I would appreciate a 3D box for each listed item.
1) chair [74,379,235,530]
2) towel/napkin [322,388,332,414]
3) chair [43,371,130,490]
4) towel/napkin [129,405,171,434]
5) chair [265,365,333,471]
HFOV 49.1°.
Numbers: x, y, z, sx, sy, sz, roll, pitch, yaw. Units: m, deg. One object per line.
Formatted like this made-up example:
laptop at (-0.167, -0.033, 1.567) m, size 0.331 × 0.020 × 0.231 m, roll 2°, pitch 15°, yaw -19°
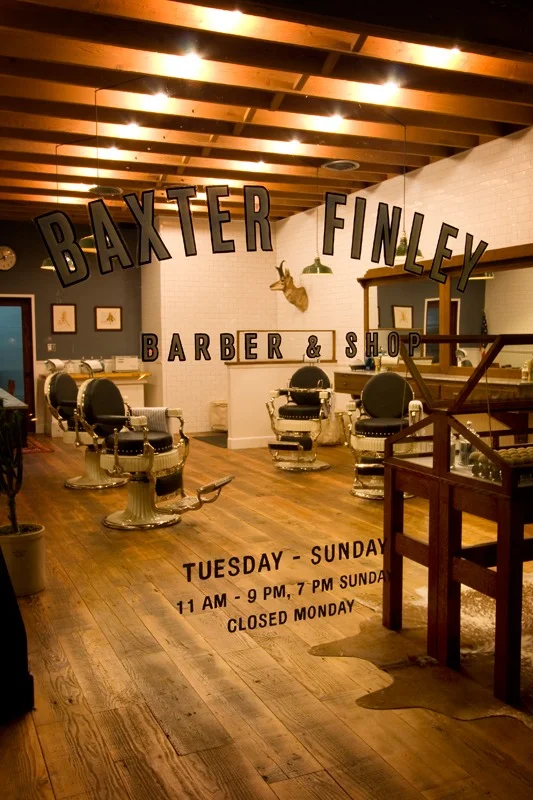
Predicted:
chair at (-0.771, 0.352, 4.120) m, size 0.943 × 1.062 × 0.671 m, roll -2°, pitch 3°, yaw 24°
towel/napkin at (0.559, -0.001, 5.408) m, size 0.066 × 0.186 × 0.184 m, roll 1°, pitch 13°, yaw 5°
chair at (-1.685, 0.247, 5.552) m, size 0.763 × 1.019 × 0.626 m, roll 1°, pitch 0°, yaw -33°
towel/napkin at (-0.733, 0.119, 3.705) m, size 0.174 × 0.163 × 0.060 m, roll 8°, pitch 26°, yaw 30°
chair at (0.308, 0.185, 5.759) m, size 0.813 × 1.047 × 0.739 m, roll -7°, pitch 11°, yaw -36°
